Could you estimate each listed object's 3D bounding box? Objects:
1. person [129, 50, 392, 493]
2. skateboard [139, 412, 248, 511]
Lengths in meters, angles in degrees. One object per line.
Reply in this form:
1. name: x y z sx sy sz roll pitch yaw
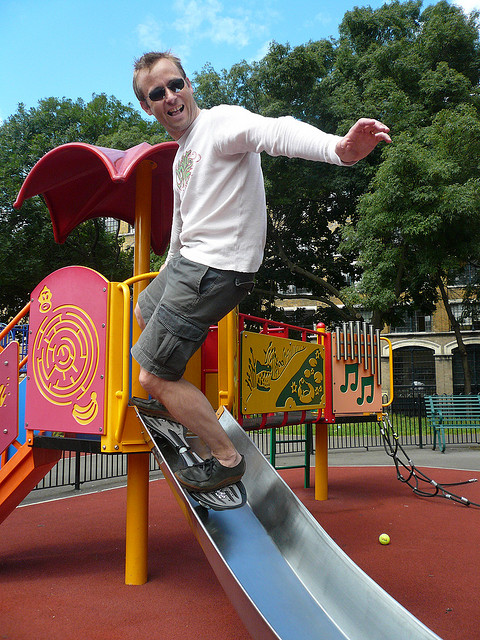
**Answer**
1. person: 0.011 -0.276 2.355 0.992 2.040 0.389 -6 -10 33
2. skateboard: -0.237 0.648 2.686 0.256 0.314 0.780 -15 27 -38
